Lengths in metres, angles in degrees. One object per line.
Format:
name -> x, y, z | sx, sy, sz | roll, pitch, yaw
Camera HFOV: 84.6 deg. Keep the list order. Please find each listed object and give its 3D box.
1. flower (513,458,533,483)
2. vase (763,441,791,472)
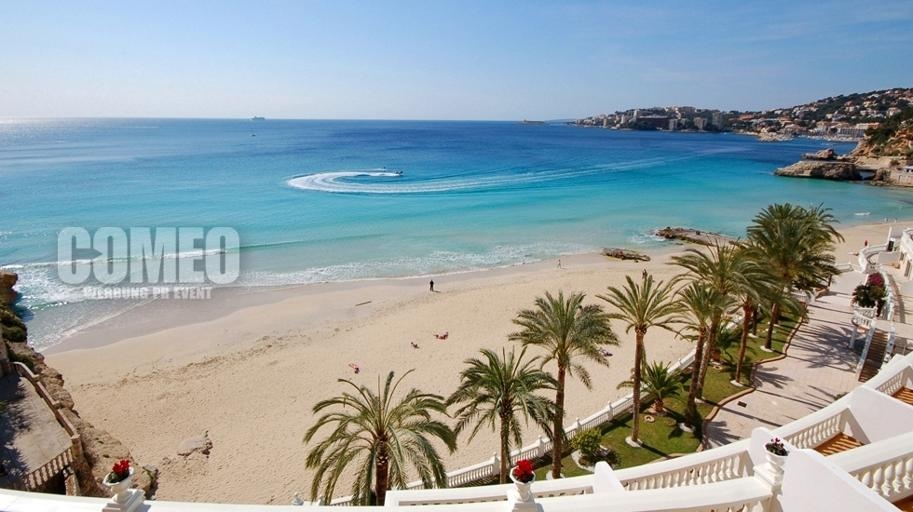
flower -> 2.875, 9.343, 21.979 | 1.142, 0.656, 0.960 | -5, 28, -1
vase -> 14.336, 9.032, 22.530 | 0.955, 1.322, 0.779 | -12, 18, -31
